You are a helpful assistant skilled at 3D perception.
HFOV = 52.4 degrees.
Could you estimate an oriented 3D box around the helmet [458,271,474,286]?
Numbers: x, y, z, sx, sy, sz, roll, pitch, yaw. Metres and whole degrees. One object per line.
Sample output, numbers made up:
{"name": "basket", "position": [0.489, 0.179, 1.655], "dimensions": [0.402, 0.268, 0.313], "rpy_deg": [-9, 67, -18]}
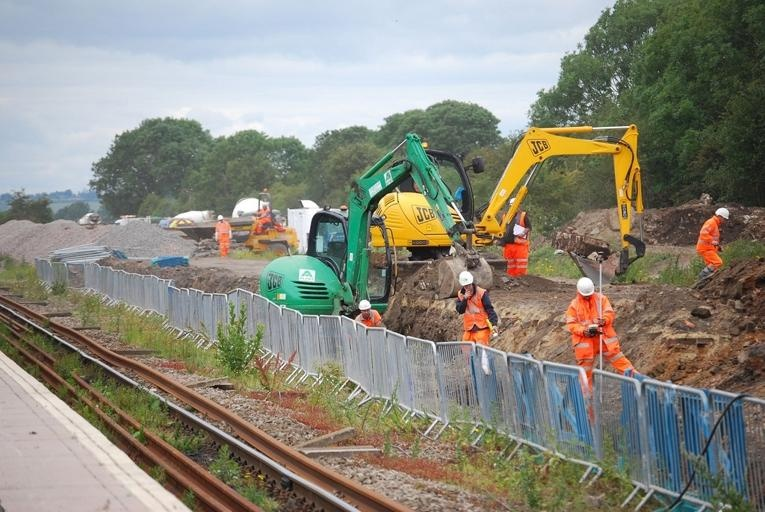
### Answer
{"name": "helmet", "position": [1.706, 0.473, 16.062], "dimensions": [0.261, 0.203, 0.383], "rpy_deg": [-15, 4, -1]}

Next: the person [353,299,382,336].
{"name": "person", "position": [-0.364, 1.384, 18.833], "dimensions": [0.454, 0.309, 0.756], "rpy_deg": [-10, 11, -8]}

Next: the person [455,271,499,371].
{"name": "person", "position": [1.902, 1.093, 15.877], "dimensions": [0.800, 1.439, 0.548], "rpy_deg": [2, 8, 7]}

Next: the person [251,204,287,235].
{"name": "person", "position": [-6.386, -1.989, 42.313], "dimensions": [1.390, 0.966, 1.897], "rpy_deg": [0, -1, -13]}

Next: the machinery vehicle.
{"name": "machinery vehicle", "position": [1.396, -1.104, 21.490], "dimensions": [8.825, 5.165, 6.078], "rpy_deg": [-4, 10, -32]}

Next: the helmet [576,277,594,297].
{"name": "helmet", "position": [3.708, 0.568, 14.229], "dimensions": [0.288, 0.334, 0.371], "rpy_deg": [3, 8, 10]}
